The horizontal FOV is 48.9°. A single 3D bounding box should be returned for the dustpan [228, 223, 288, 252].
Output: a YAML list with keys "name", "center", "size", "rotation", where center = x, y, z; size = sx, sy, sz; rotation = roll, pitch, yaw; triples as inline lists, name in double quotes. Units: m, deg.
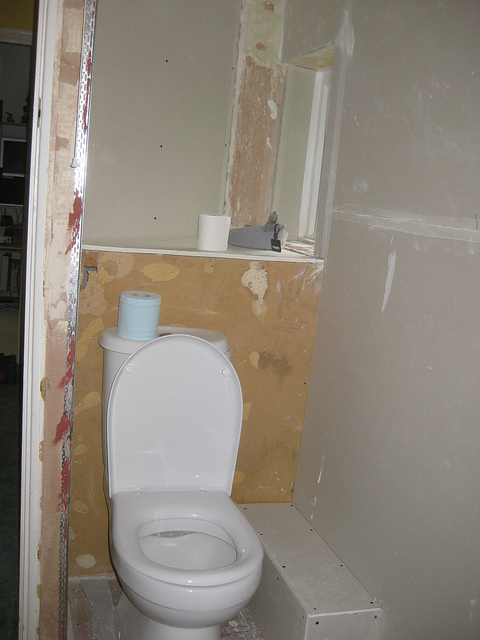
- name: "dustpan"
  center: [0.068, -0.285, 1.701]
  size: [0.118, 0.069, 0.099]
  rotation: [8, 11, 26]

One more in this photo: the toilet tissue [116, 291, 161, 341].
- name: "toilet tissue"
  center: [-0.261, -0.010, 1.371]
  size: [0.087, 0.137, 0.106]
  rotation: [6, 9, -7]

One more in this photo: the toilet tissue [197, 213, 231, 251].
- name: "toilet tissue"
  center: [-0.072, -0.245, 1.569]
  size: [0.076, 0.132, 0.094]
  rotation: [6, 7, -3]
